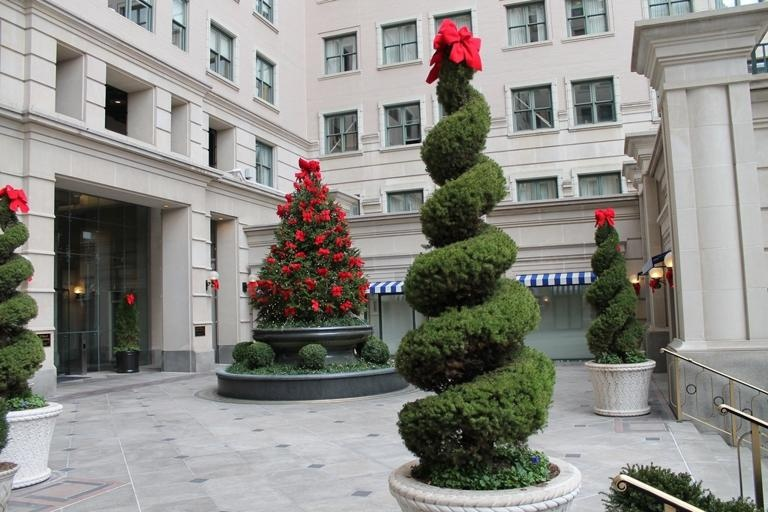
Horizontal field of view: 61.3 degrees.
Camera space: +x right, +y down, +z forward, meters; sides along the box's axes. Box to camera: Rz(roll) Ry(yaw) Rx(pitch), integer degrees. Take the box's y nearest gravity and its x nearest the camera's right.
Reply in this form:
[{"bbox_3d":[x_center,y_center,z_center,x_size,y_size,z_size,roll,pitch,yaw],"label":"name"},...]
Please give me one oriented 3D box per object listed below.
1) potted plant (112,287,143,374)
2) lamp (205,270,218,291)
[{"bbox_3d":[-9.295,2.723,23.429,0.845,2.913,1.049,-1,-4,-27],"label":"potted plant"},{"bbox_3d":[-6.423,0.905,24.160,0.391,0.738,0.728,-2,-3,-11],"label":"lamp"}]
